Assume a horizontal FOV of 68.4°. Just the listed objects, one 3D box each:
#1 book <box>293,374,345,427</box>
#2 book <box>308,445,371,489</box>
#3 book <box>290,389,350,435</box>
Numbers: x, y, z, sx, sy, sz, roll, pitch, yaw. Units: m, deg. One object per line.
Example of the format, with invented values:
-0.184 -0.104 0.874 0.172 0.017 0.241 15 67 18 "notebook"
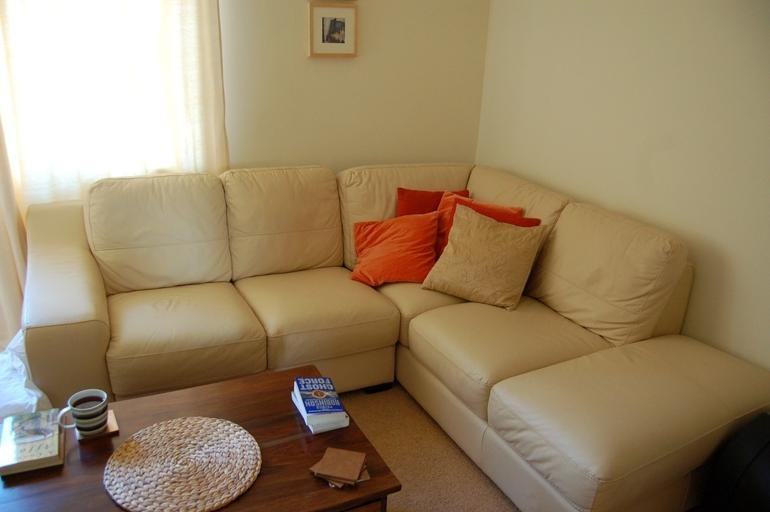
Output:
-0.313 0.666 2.630 0.185 0.076 0.242 -5 24 -20 "book"
-0.191 0.898 2.410 0.255 0.077 0.153 5 21 5 "book"
-0.295 0.698 2.586 0.204 0.063 0.207 -6 32 -29 "book"
